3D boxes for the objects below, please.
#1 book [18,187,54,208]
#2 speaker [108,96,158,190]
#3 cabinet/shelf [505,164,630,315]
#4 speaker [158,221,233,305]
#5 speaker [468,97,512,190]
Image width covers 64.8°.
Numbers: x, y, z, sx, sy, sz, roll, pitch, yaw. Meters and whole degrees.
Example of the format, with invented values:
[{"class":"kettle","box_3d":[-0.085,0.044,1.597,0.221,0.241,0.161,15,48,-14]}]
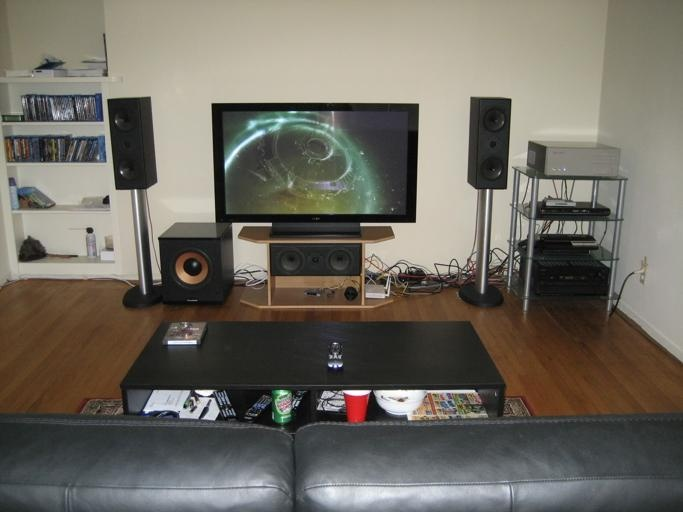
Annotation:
[{"class":"book","box_3d":[-2.411,-0.449,4.204,0.223,0.067,0.164,42,53,11]},{"class":"speaker","box_3d":[-1.442,-0.769,3.691,0.261,0.450,0.365,-2,1,-15]},{"class":"cabinet/shelf","box_3d":[1.569,-0.214,3.783,0.813,0.847,0.803,-32,36,-31]},{"class":"speaker","box_3d":[-0.986,0.038,3.973,0.514,0.552,0.533,0,14,-1]},{"class":"speaker","box_3d":[0.995,-0.772,3.672,0.258,0.646,0.345,-2,1,9]}]
